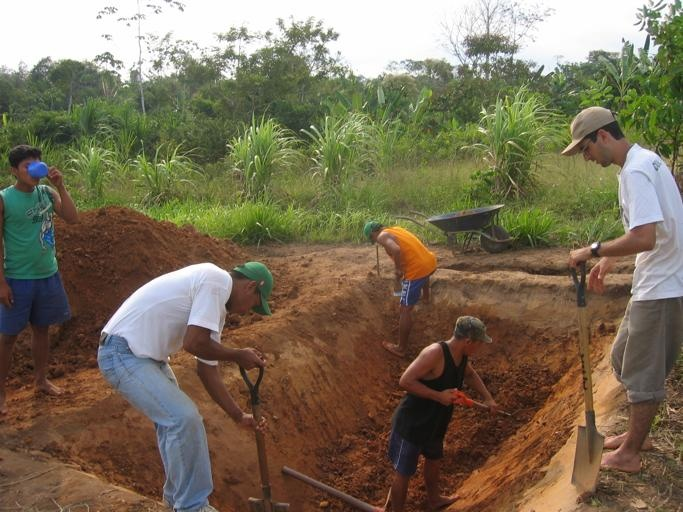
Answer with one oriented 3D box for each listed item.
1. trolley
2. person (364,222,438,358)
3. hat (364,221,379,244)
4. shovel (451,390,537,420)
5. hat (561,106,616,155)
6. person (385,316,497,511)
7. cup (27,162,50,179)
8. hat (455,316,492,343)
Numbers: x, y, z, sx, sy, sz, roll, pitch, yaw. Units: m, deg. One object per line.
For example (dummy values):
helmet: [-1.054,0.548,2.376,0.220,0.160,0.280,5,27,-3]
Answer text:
trolley: [2.095,-0.276,12.671,1.721,0.844,1.027,-2,10,19]
person: [0.841,0.584,10.459,0.911,1.792,1.196,10,31,38]
hat: [0.416,-0.351,10.131,0.254,0.282,0.185,-21,19,-38]
shovel: [1.886,1.840,8.740,1.088,0.212,0.195,24,-40,-25]
hat: [2.367,-1.243,7.029,0.523,0.292,0.337,-37,5,19]
person: [1.006,1.752,7.545,0.928,2.292,0.853,-4,8,-33]
cup: [-3.279,-0.935,7.798,0.138,0.198,0.187,14,-19,49]
hat: [1.356,0.752,7.325,0.339,0.205,0.259,13,20,-15]
